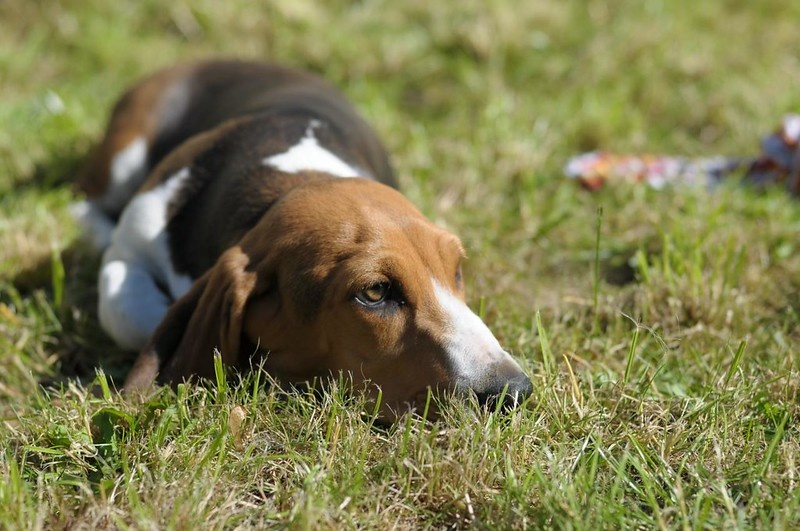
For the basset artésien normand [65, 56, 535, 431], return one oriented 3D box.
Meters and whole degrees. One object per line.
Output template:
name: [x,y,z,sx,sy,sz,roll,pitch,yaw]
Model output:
basset artésien normand: [-0.849,-0.327,4.861,1.835,1.245,3.228,-5,40,-34]
